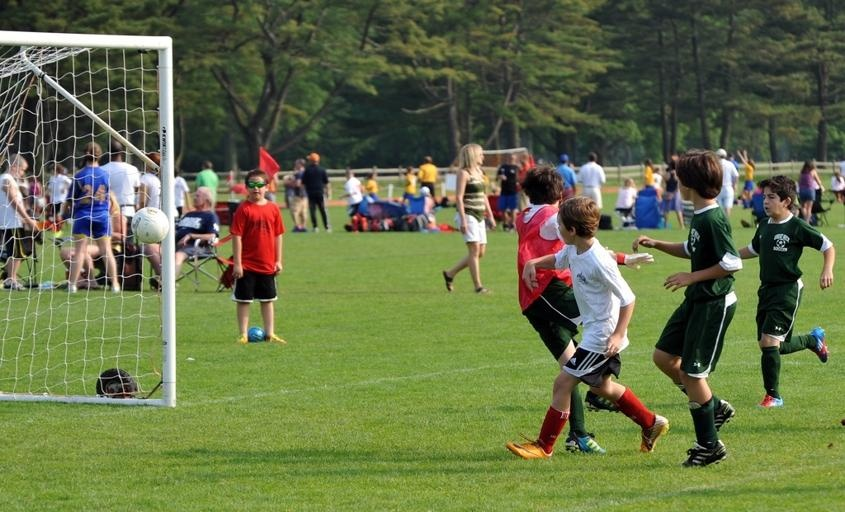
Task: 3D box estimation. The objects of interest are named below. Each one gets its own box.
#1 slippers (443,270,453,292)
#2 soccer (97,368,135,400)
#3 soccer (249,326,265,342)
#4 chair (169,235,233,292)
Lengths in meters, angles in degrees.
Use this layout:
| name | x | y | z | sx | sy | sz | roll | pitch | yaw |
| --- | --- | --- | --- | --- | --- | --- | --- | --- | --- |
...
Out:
| name | x | y | z | sx | sy | sz | roll | pitch | yaw |
| --- | --- | --- | --- | --- | --- | --- | --- | --- | --- |
| slippers | 0.745 | 0.746 | 45.808 | 0.191 | 0.602 | 0.236 | -3 | 19 | 14 |
| soccer | -7.832 | 3.295 | 39.964 | 0.918 | 0.645 | 0.668 | -7 | 5 | -10 |
| soccer | -4.467 | 2.126 | 42.288 | 0.403 | 0.288 | 0.395 | 5 | 17 | -3 |
| chair | -6.954 | 0.223 | 46.434 | 1.473 | 2.183 | 2.414 | 1 | -1 | -6 |
